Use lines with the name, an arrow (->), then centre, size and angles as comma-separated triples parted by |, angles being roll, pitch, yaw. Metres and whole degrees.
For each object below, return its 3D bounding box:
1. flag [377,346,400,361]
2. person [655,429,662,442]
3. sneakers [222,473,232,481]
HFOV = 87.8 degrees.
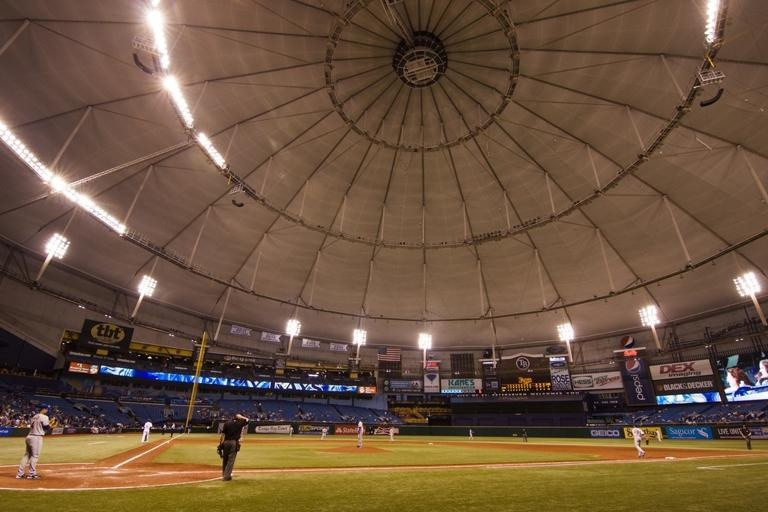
flag -> 0.608, 14.583, 59.234 | 4.032, 2.173, 0.192 | -1, 0, 7
person -> 28.878, 18.765, 42.035 | 0.515, 1.088, 1.288 | -23, -35, 35
sneakers -> -6.732, 9.475, 17.072 | 0.415, 0.231, 0.177 | 3, -8, -19
